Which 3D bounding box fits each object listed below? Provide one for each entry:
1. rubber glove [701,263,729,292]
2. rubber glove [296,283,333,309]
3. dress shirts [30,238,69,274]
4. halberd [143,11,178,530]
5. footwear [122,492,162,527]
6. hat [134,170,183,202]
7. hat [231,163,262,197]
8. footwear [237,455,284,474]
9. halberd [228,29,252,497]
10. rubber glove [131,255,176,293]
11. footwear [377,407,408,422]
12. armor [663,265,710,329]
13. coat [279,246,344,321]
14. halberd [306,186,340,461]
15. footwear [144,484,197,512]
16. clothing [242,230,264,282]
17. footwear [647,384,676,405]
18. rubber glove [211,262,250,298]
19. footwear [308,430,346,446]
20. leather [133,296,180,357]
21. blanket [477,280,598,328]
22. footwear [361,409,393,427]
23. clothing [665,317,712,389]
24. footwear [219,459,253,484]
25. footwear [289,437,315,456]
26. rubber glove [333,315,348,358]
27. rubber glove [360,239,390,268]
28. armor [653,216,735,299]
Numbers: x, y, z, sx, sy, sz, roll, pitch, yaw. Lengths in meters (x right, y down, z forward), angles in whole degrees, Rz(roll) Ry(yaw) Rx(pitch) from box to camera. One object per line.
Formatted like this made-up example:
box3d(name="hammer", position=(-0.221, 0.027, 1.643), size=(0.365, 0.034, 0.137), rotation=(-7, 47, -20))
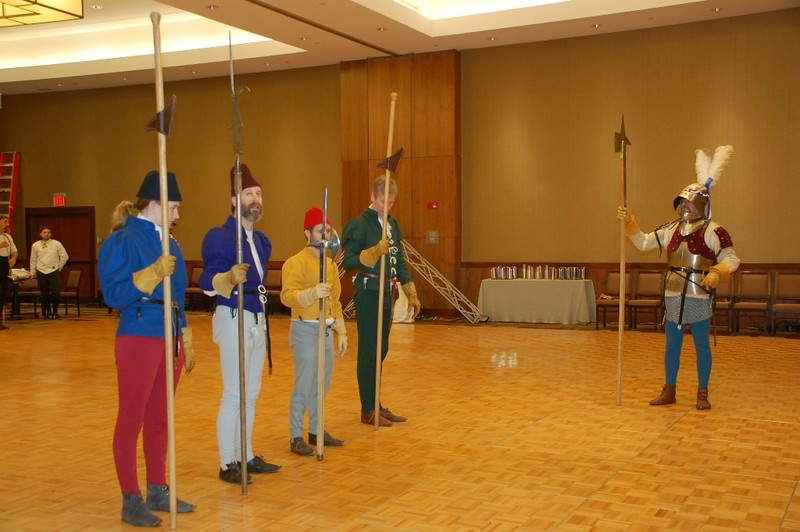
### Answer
box3d(name="rubber glove", position=(3.121, 0.122, 7.237), size=(0.185, 0.138, 0.293), rotation=(13, 42, 46))
box3d(name="rubber glove", position=(-0.702, 0.233, 5.845), size=(0.196, 0.225, 0.368), rotation=(-3, 5, -26))
box3d(name="dress shirts", position=(-7.249, -0.202, 15.051), size=(0.746, 0.856, 0.392), rotation=(2, -6, -25))
box3d(name="halberd", position=(-1.635, 0.005, 5.061), size=(0.099, 3.555, 0.583), rotation=(-2, 4, -19))
box3d(name="footwear", position=(-1.830, 1.694, 5.163), size=(0.328, 0.218, 0.149), rotation=(1, 0, 21))
box3d(name="hat", position=(-1.697, -0.547, 5.136), size=(0.266, 0.171, 0.232), rotation=(7, 4, 44))
box3d(name="hat", position=(-1.186, -0.666, 5.638), size=(0.194, 0.229, 0.279), rotation=(-9, 3, -12))
box3d(name="footwear", position=(-1.124, 1.581, 5.894), size=(0.330, 0.148, 0.125), rotation=(3, -3, -6))
box3d(name="halberd", position=(-1.234, 0.038, 5.619), size=(0.100, 3.289, 0.823), rotation=(-1, 4, -12))
box3d(name="rubber glove", position=(-1.650, 0.052, 4.891), size=(0.317, 0.251, 0.097), rotation=(2, 5, 28))
box3d(name="footwear", position=(-0.088, 1.440, 7.082), size=(0.307, 0.138, 0.111), rotation=(5, 9, 13))
box3d(name="armor", position=(2.933, 0.247, 7.458), size=(0.451, 0.644, 0.349), rotation=(6, 24, 26))
box3d(name="coat", position=(-0.690, 0.211, 6.188), size=(0.361, 0.768, 0.648), rotation=(6, 3, 37))
box3d(name="halberd", position=(-0.630, 0.485, 6.073), size=(0.274, 2.224, 1.057), rotation=(-1, 4, -7))
box3d(name="footwear", position=(-1.636, 1.674, 5.345), size=(0.426, 0.210, 0.152), rotation=(2, -2, 1))
box3d(name="clothing", position=(-1.167, -0.085, 5.709), size=(0.093, 0.334, 0.241), rotation=(-23, -9, 35))
box3d(name="footwear", position=(2.747, 1.337, 7.644), size=(0.334, 0.259, 0.145), rotation=(1, 0, 3))
box3d(name="rubber glove", position=(-1.249, 0.107, 5.365), size=(0.190, 0.270, 0.391), rotation=(-4, 6, -41))
box3d(name="footwear", position=(-0.667, 1.522, 6.480), size=(0.354, 0.164, 0.123), rotation=(0, -1, 12))
box3d(name="leather", position=(-1.676, 0.421, 5.077), size=(0.293, 0.320, 0.363), rotation=(0, -12, -13))
box3d(name="blanket", position=(2.471, 0.639, 13.583), size=(1.974, 0.806, 0.164), rotation=(1, 4, 18))
box3d(name="footwear", position=(-0.232, 1.435, 6.960), size=(0.256, 0.113, 0.142), rotation=(0, 1, 5))
box3d(name="clothing", position=(2.919, 0.712, 7.447), size=(0.450, 1.166, 0.291), rotation=(0, 23, 27))
box3d(name="footwear", position=(-1.302, 1.602, 5.740), size=(0.293, 0.149, 0.117), rotation=(-2, -2, 37))
box3d(name="footwear", position=(-0.849, 1.532, 6.247), size=(0.090, 0.121, 0.275), rotation=(-6, 1, -38))
box3d(name="rubber glove", position=(-0.525, 0.553, 6.423), size=(0.068, 0.299, 0.105), rotation=(15, -33, -19))
box3d(name="rubber glove", position=(-0.211, -0.115, 6.555), size=(0.178, 0.240, 0.357), rotation=(-4, 5, -37))
box3d(name="armor", position=(3.009, -0.064, 7.557), size=(0.452, 0.869, 0.809), rotation=(18, -9, -38))
